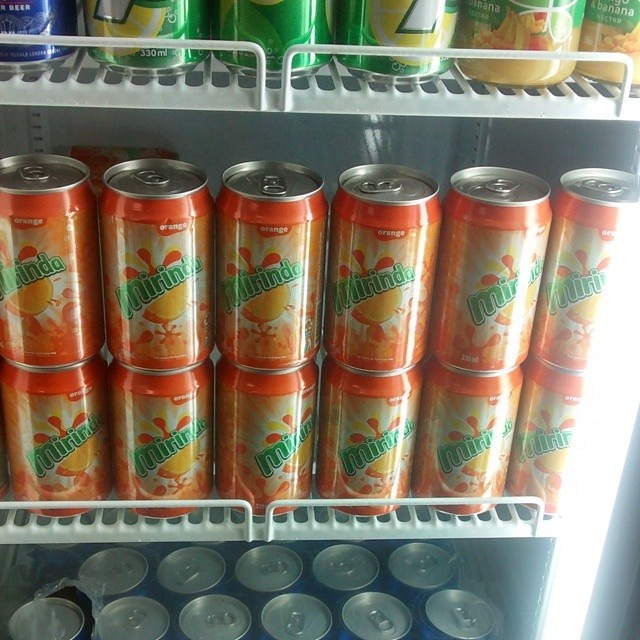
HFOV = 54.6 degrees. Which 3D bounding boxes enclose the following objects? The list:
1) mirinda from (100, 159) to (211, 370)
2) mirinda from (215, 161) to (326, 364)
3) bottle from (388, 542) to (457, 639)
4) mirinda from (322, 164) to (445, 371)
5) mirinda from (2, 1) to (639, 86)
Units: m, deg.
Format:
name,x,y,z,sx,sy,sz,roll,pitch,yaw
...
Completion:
name,x,y,z,sx,sy,sz,roll,pitch,yaw
mirinda,-0.206,-0.070,0.807,0.139,0.263,0.136,10,25,17
mirinda,-0.064,-0.071,0.823,0.140,0.261,0.139,5,24,6
bottle,0.198,0.500,1.204,0.116,0.002,0.224,3,26,5
mirinda,0.084,-0.066,0.832,0.137,0.266,0.140,17,28,30
mirinda,0.034,-0.305,0.679,0.724,0.083,0.189,-4,21,-15
